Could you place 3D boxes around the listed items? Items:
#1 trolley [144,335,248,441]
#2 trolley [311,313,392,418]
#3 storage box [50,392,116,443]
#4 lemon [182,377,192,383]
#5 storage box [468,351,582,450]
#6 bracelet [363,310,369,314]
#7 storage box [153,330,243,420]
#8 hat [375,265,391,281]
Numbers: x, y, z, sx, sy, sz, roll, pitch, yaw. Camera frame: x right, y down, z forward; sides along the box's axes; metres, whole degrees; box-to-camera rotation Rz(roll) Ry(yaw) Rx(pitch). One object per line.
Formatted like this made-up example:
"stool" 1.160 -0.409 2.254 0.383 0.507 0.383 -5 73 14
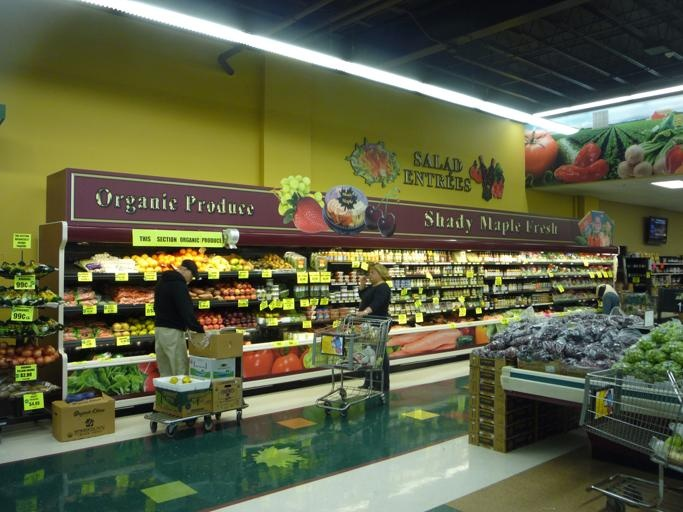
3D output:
"trolley" -1.806 1.539 6.705 1.206 1.073 0.681 2 -5 -43
"trolley" 0.251 1.511 7.644 0.913 1.461 1.480 -3 -8 27
"storage box" -2.961 1.894 6.211 0.685 0.434 0.429 1 -8 -38
"lemon" -1.847 1.473 6.397 0.076 0.058 0.061 24 32 36
"storage box" 1.967 1.618 6.148 0.826 1.011 0.809 2 3 38
"bracelet" 0.368 0.819 7.830 0.062 0.058 0.063 11 -11 -5
"storage box" -1.673 1.452 6.938 0.809 1.129 1.324 0 1 42
"hat" 0.616 0.233 8.026 0.220 0.237 0.235 -10 0 29
